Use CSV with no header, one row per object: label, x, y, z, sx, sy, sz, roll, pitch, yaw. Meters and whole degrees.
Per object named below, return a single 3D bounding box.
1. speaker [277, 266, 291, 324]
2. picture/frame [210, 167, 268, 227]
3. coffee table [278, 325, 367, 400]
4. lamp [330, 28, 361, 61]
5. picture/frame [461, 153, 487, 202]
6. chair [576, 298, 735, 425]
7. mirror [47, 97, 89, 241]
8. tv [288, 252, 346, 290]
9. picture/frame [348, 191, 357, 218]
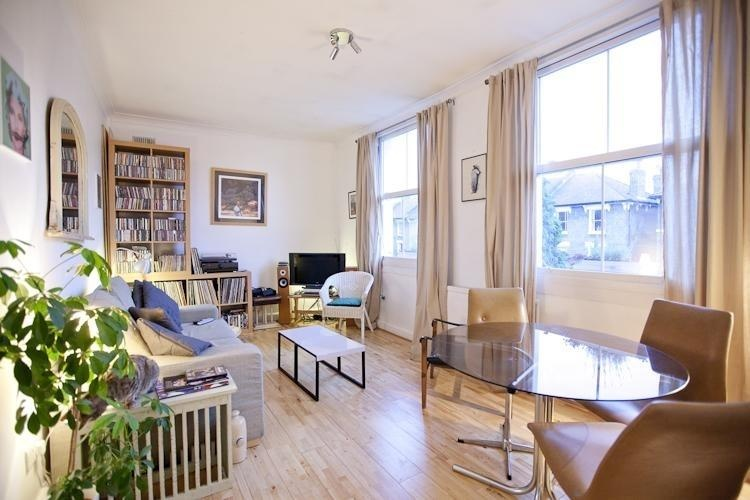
speaker,-1.280,0.605,7.173,0.178,0.879,0.202,-1,1,-10
picture/frame,-1.949,-0.767,7.155,0.850,0.838,0.063,1,-1,-34
coffee table,-0.568,1.099,5.177,0.584,0.444,0.956,-5,11,-38
lamp,-0.278,-1.902,4.697,0.278,0.183,0.292,-1,1,-3
picture/frame,1.047,-0.770,5.416,0.052,0.480,0.361,-1,1,-27
chair,2.069,0.755,4.030,0.925,1.217,0.833,3,-2,-17
mirror,-2.448,-0.624,4.059,0.185,1.069,0.922,-1,1,-24
tv,-0.809,0.312,7.187,0.800,0.574,0.211,1,8,8
picture/frame,-0.328,-0.693,7.509,0.021,0.496,0.439,1,0,-24
